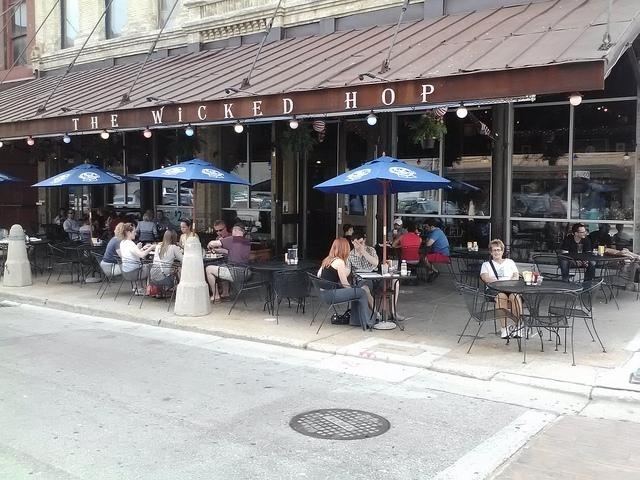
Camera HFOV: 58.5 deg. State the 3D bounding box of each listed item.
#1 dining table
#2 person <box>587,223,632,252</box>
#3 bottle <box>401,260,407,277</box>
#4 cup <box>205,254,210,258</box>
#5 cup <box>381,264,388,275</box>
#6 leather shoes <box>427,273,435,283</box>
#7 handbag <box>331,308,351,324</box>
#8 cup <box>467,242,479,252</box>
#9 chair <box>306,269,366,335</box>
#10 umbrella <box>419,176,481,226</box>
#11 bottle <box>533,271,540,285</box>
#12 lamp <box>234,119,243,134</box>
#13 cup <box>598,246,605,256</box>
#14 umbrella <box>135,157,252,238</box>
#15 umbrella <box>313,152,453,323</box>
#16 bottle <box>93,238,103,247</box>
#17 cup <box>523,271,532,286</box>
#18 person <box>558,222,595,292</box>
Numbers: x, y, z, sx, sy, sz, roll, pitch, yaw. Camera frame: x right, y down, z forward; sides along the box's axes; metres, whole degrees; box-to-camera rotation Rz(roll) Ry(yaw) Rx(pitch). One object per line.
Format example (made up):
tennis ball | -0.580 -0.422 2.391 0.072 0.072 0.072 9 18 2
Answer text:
dining table | 1.141 1.100 10.650 1.141 0.824 1.032 0 -2 10
person | 7.115 -0.144 13.966 0.739 0.633 0.717 4 6 39
bottle | 1.506 0.487 10.239 0.115 0.254 0.335 1 7 7
cup | -2.454 0.338 12.528 0.121 0.110 0.065 4 9 17
cup | 1.145 0.514 10.183 0.149 0.223 0.162 4 -2 0
leather shoes | 2.868 0.979 14.946 0.200 0.244 0.587 0 -4 10
handbag | 0.385 1.454 10.751 0.323 0.211 0.223 -2 5 5
cup | 3.744 0.159 14.080 0.223 0.161 0.366 0 1 11
chair | 0.348 1.102 10.545 1.123 0.942 0.918 -3 3 -16
umbrella | 3.453 -1.147 14.974 1.525 1.326 1.470 4 -2 33
bottle | 3.433 0.584 9.103 0.123 0.168 0.464 3 8 23
lamp | -1.796 -2.604 12.793 0.172 0.269 0.867 -1 7 -9
cup | 6.060 0.220 12.379 0.205 0.218 0.201 1 -2 0
umbrella | -2.968 -0.811 13.537 2.243 1.415 2.198 1 3 -36
umbrella | 1.277 -0.125 11.817 3.137 3.246 3.023 -2 4 -37
bottle | -6.090 0.050 15.724 0.217 0.154 0.119 -2 -4 -21
cup | 3.270 0.593 9.043 0.134 0.202 0.293 3 8 22
person | 5.696 0.315 12.634 0.847 1.355 0.780 -19 18 -39
